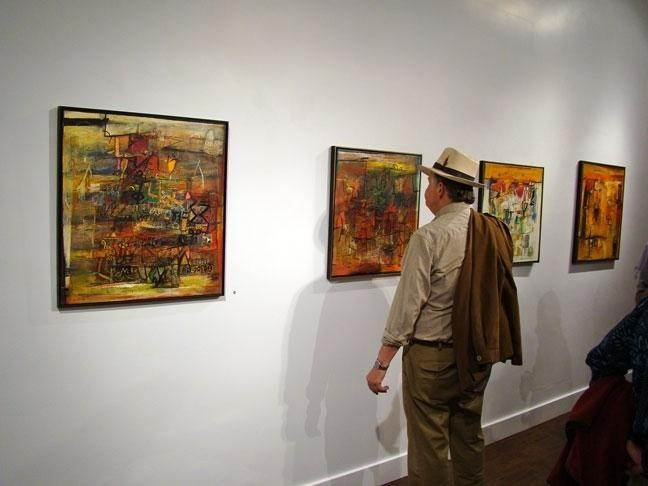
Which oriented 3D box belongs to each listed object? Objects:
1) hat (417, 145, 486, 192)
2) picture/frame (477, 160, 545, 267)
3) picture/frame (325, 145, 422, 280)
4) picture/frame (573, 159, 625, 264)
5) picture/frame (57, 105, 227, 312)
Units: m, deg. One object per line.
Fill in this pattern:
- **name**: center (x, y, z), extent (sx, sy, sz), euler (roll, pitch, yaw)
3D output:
- **hat**: center (0.831, -0.476, 3.317), extent (0.299, 0.123, 0.278), euler (31, 11, 28)
- **picture/frame**: center (1.449, -0.258, 4.070), extent (0.816, 0.905, 0.060), euler (-3, 4, -38)
- **picture/frame**: center (0.311, -0.212, 3.589), extent (0.842, 1.057, 0.068), euler (-3, 8, -28)
- **picture/frame**: center (2.625, -0.331, 4.981), extent (0.843, 1.065, 0.039), euler (-10, 13, -39)
- **picture/frame**: center (-1.102, -0.223, 3.012), extent (1.132, 1.391, 0.085), euler (0, 10, -25)
